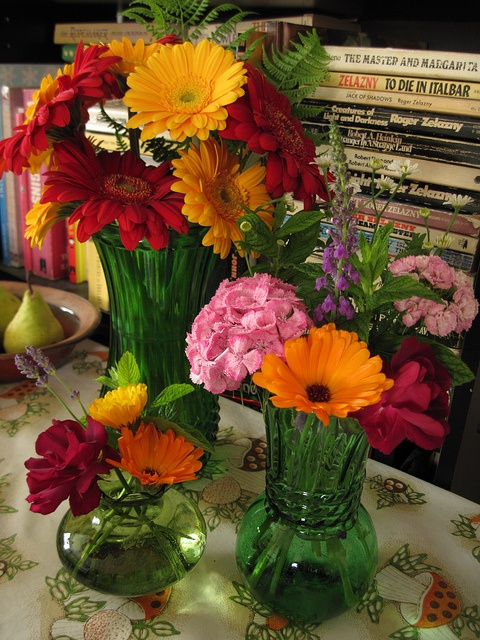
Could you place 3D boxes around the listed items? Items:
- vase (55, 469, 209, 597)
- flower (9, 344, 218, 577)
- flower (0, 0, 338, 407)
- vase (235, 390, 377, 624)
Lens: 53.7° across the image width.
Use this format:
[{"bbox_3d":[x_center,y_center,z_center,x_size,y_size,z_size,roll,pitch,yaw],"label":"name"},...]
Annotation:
[{"bbox_3d":[-0.080,0.166,0.369,0.107,0.066,0.102,0,20,3],"label":"vase"},{"bbox_3d":[-0.084,0.084,0.398,0.146,0.138,0.180,-5,7,-15],"label":"flower"},{"bbox_3d":[-0.041,-0.110,0.570,0.345,0.385,0.402,17,27,25],"label":"flower"},{"bbox_3d":[0.051,0.139,0.353,0.095,0.178,0.086,11,-1,-12],"label":"vase"}]
